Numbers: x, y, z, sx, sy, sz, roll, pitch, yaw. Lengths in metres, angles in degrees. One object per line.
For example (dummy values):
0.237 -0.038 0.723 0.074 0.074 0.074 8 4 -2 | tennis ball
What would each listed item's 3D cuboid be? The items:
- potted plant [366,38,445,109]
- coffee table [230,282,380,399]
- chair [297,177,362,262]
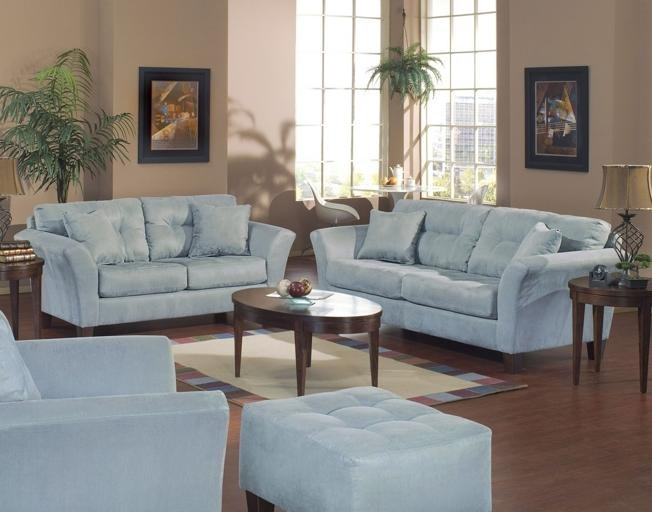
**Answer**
1.289 -2.981 9.641 1.132 0.980 0.827 1 8 6 | potted plant
-0.087 0.419 4.056 0.708 0.473 1.035 -3 7 -34 | coffee table
0.006 -0.595 9.020 1.147 1.391 1.013 -6 9 4 | chair
